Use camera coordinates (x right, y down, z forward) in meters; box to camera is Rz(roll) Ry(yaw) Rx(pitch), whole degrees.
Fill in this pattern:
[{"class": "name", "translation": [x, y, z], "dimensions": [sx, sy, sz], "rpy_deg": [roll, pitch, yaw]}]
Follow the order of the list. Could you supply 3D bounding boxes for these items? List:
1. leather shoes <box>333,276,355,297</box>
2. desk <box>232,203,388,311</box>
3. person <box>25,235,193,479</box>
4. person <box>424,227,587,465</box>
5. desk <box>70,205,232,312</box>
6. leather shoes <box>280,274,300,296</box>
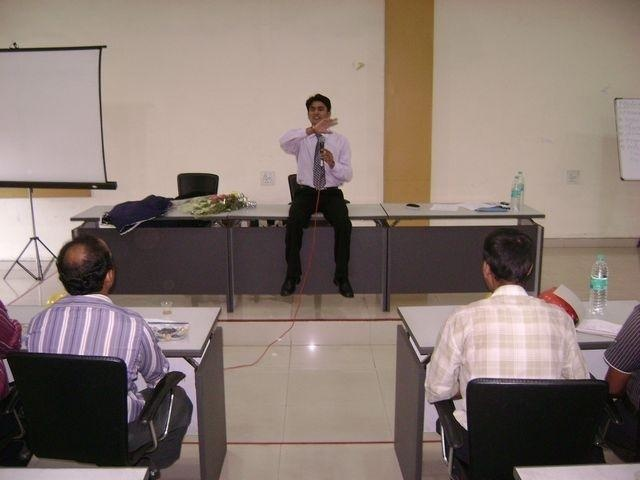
[{"class": "leather shoes", "translation": [0.200, 0.392, 4.435], "dimensions": [0.175, 0.154, 0.150], "rpy_deg": [-1, 6, 4]}, {"class": "desk", "translation": [-0.192, 0.086, 5.171], "dimensions": [1.491, 1.051, 1.700], "rpy_deg": [-1, 15, 12]}, {"class": "person", "translation": [-0.986, 0.585, 2.351], "dimensions": [0.681, 1.141, 0.605], "rpy_deg": [0, 1, -3]}, {"class": "person", "translation": [0.790, 0.359, 2.245], "dimensions": [0.609, 0.758, 0.450], "rpy_deg": [-1, 1, 5]}, {"class": "desk", "translation": [-1.251, 0.162, 4.447], "dimensions": [0.941, 0.619, 0.998], "rpy_deg": [0, 11, -3]}, {"class": "leather shoes", "translation": [-0.229, 0.358, 4.457], "dimensions": [0.095, 0.103, 0.227], "rpy_deg": [5, 33, 29]}]
